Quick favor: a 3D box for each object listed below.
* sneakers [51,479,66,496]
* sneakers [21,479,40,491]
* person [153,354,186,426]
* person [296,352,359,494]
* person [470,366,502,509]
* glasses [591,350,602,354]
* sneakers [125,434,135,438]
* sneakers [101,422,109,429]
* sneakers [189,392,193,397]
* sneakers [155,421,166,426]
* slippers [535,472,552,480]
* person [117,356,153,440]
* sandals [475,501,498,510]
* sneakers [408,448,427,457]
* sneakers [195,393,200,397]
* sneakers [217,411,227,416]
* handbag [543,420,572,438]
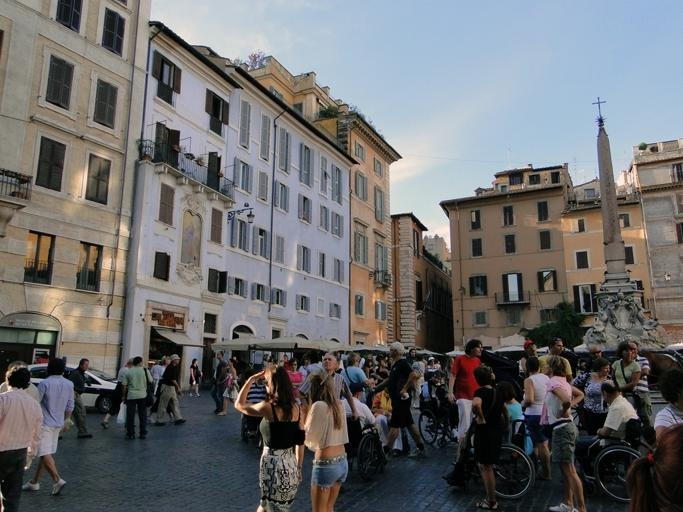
[{"bbox_3d":[-4.545,3.729,8.759,0.163,0.141,0.386,35,-48,2],"label":"sneakers"},{"bbox_3d":[-5.088,3.761,9.000,0.282,0.133,0.131,3,-8,5],"label":"sneakers"},{"bbox_3d":[-5.053,3.938,16.136,0.755,1.990,1.427,3,-14,-17],"label":"person"},{"bbox_3d":[-0.283,2.426,8.789,0.966,1.646,1.785,-1,-3,32],"label":"person"},{"bbox_3d":[2.158,2.652,8.071,0.496,2.056,0.379,1,-14,-8],"label":"person"},{"bbox_3d":[5.210,1.976,11.192,0.137,0.056,0.150,-3,-7,9],"label":"glasses"},{"bbox_3d":[-5.257,4.472,13.589,0.129,0.049,0.133,1,-6,-7],"label":"sneakers"},{"bbox_3d":[-6.670,4.798,15.450,0.186,0.162,0.450,-3,6,-28],"label":"sneakers"},{"bbox_3d":[-6.727,6.173,24.355,0.121,0.187,0.270,1,-29,-9],"label":"sneakers"},{"bbox_3d":[-5.265,4.843,15.882,0.280,0.129,0.373,4,-15,-20],"label":"sneakers"},{"bbox_3d":[3.502,3.842,9.562,0.220,0.093,0.116,10,4,43],"label":"slippers"},{"bbox_3d":[-5.270,3.604,14.052,0.674,2.010,0.855,4,-14,-19],"label":"person"},{"bbox_3d":[2.115,3.639,8.010,0.311,0.141,0.120,0,-9,22],"label":"sandals"},{"bbox_3d":[1.615,4.230,11.762,0.459,0.221,0.175,-6,-16,2],"label":"sneakers"},{"bbox_3d":[-6.424,6.163,24.368,0.166,0.147,0.564,1,-14,-9],"label":"sneakers"},{"bbox_3d":[-4.047,5.326,18.525,0.243,0.180,0.106,0,-23,16],"label":"sneakers"},{"bbox_3d":[3.298,2.681,8.537,0.446,0.247,0.336,-4,-2,-10],"label":"handbag"}]
